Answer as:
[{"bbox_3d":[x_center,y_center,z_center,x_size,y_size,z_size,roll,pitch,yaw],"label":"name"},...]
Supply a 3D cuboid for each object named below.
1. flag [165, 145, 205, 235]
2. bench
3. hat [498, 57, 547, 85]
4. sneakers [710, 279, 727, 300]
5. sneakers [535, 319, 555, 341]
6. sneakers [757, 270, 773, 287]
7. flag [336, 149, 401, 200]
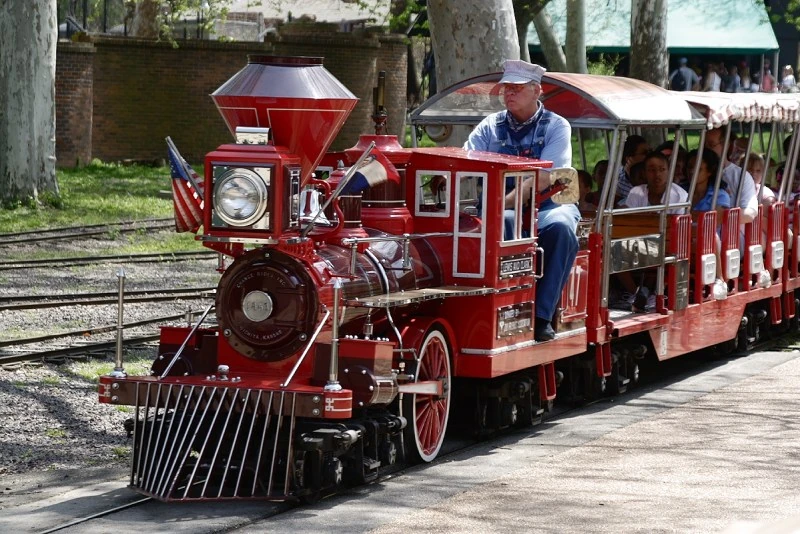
[{"bbox_3d":[-1.944,-0.721,11.180,0.292,0.918,0.657,-2,13,-11],"label":"flag"},{"bbox_3d":[2.928,-0.159,14.896,1.390,1.274,1.343,2,8,26],"label":"bench"},{"bbox_3d":[1.316,-2.045,12.916,0.358,0.154,0.305,3,-3,-44],"label":"hat"},{"bbox_3d":[4.147,0.290,16.039,0.193,0.090,0.273,3,21,14],"label":"sneakers"},{"bbox_3d":[1.497,0.685,12.959,0.240,0.250,0.151,-1,-2,1],"label":"sneakers"},{"bbox_3d":[5.060,0.171,17.154,0.183,0.123,0.248,0,29,4],"label":"sneakers"},{"bbox_3d":[-0.297,-0.916,11.746,0.123,0.403,0.813,12,17,40],"label":"flag"}]
